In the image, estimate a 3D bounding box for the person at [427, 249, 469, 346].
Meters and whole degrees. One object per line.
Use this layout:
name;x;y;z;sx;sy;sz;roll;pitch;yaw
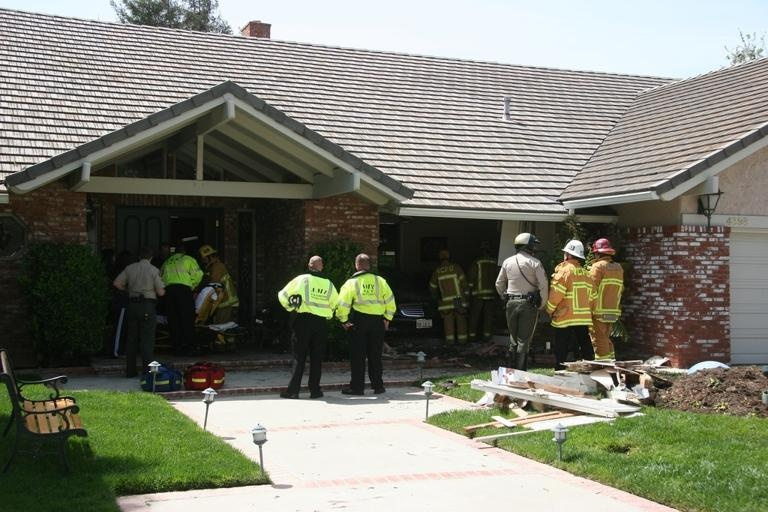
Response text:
person;1.620;1.032;21.732;0.903;2.309;0.512;0;7;4

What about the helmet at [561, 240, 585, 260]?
helmet;3.903;-0.101;17.667;0.370;0.275;0.447;23;11;41

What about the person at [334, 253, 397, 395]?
person;-0.387;1.334;16.707;1.112;2.745;0.453;-1;7;-6

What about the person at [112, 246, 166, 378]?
person;-4.935;1.145;17.471;0.842;2.593;0.651;4;8;28

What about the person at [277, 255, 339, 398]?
person;-1.462;1.355;16.423;1.074;2.707;0.437;-2;7;-12

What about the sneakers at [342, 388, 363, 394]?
sneakers;-0.629;2.647;16.847;0.382;0.160;0.146;6;2;14

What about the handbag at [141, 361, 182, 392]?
handbag;-4.206;2.239;16.450;0.669;0.483;0.620;1;-7;-8

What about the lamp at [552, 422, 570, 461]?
lamp;2.630;2.720;12.992;0.183;0.606;0.694;1;7;11

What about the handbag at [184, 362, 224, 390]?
handbag;-3.491;2.332;16.849;0.561;0.386;0.554;1;4;-3

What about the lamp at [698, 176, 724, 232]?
lamp;7.179;-1.140;19.104;0.510;1.257;0.766;3;8;21

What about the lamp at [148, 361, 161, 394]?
lamp;-4.282;2.239;16.122;0.209;0.613;0.549;-2;7;-16

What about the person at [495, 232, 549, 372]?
person;2.831;0.950;17.518;0.843;2.774;0.996;-3;7;-20

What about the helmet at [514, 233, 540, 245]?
helmet;2.921;-0.331;17.610;0.428;0.204;0.309;0;5;-22

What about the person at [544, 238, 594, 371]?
person;3.761;1.043;17.514;0.962;2.667;0.677;1;7;11
